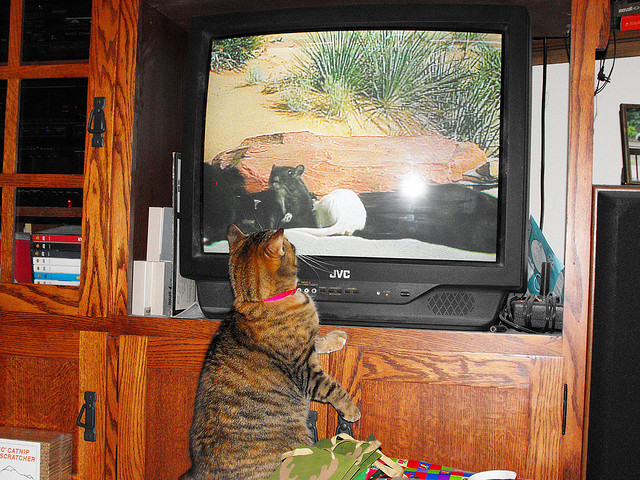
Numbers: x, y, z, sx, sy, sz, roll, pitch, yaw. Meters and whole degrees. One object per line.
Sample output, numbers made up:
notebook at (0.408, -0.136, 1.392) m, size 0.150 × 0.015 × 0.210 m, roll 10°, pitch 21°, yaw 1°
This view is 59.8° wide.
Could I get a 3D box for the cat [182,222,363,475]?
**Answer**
cat at (-0.152, 0.371, 1.701) m, size 0.464 × 1.054 × 0.327 m, roll 5°, pitch 4°, yaw -4°
